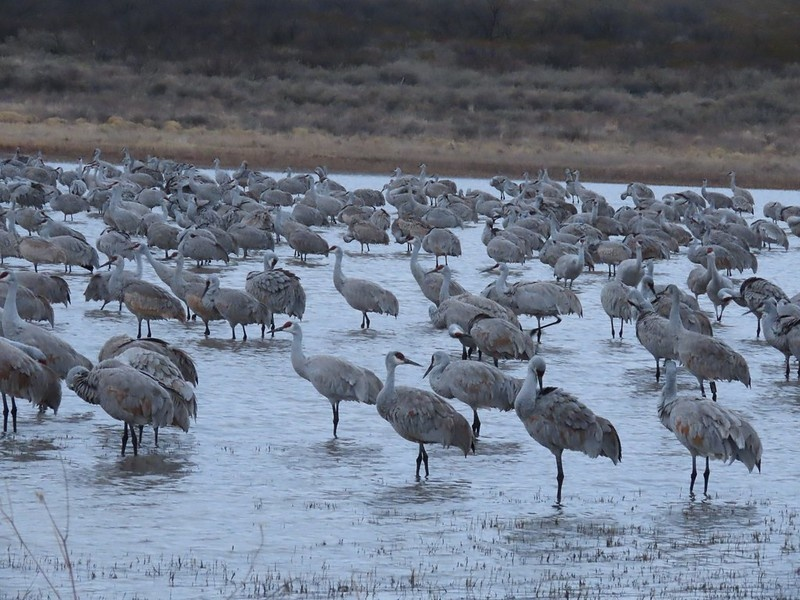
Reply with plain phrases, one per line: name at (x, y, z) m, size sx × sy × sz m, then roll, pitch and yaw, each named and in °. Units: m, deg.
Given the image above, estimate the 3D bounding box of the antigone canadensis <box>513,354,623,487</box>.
antigone canadensis at (3.335, 2.619, 27.175) m, size 1.991 × 2.932 × 0.551 m, roll 0°, pitch -5°, yaw 2°
